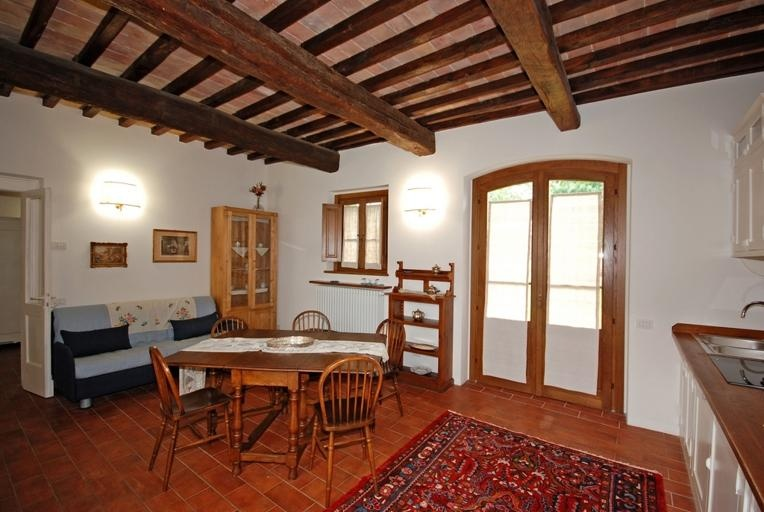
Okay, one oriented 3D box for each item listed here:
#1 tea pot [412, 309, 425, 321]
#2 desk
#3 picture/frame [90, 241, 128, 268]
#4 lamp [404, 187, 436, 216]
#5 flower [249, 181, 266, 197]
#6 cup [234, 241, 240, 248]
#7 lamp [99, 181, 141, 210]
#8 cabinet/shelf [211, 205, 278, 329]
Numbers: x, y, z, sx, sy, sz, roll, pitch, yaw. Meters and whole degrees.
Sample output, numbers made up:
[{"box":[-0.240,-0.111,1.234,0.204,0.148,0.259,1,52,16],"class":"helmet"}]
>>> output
[{"box":[0.504,0.822,6.603,0.159,0.125,0.118,1,-2,29],"class":"tea pot"},{"box":[-1.231,1.401,5.205,1.812,0.867,1.590,1,0,11],"class":"desk"},{"box":[-3.820,-0.026,6.571,0.387,0.362,0.046,1,1,-41],"class":"picture/frame"},{"box":[0.497,-0.789,6.642,0.407,0.430,0.396,2,12,-1],"class":"lamp"},{"box":[-2.121,-1.154,8.134,0.256,0.112,0.271,-1,-1,16],"class":"flower"},{"box":[-2.335,-0.197,7.617,0.096,0.117,0.066,1,6,-27],"class":"cup"},{"box":[-3.652,-0.855,6.633,0.651,0.442,0.365,-1,7,-45],"class":"lamp"},{"box":[-2.240,0.216,7.786,1.038,2.003,0.361,-1,3,-39],"class":"cabinet/shelf"}]
